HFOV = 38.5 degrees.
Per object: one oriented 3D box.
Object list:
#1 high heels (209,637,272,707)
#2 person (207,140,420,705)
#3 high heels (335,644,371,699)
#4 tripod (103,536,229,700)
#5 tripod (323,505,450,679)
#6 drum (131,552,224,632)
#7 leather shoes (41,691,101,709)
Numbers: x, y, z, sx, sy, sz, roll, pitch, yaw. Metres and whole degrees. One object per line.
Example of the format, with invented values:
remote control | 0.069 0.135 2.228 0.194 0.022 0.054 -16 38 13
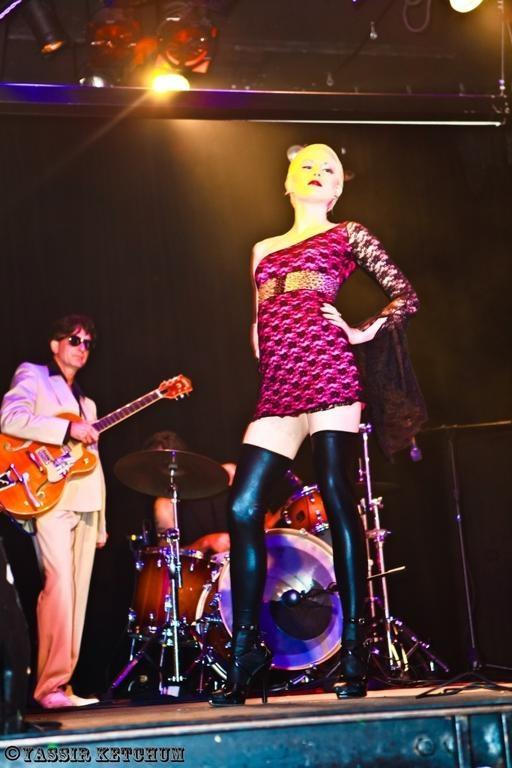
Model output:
high heels | -0.039 0.757 1.969 0.168 0.184 0.079 0 -14 -9
person | 0.191 0.151 2.211 0.665 1.451 0.250 -2 -14 -1
high heels | 0.254 0.771 1.967 0.088 0.124 0.162 -4 -14 5
tripod | -0.361 1.200 3.758 0.829 0.827 0.739 1 -34 1
tripod | 0.694 1.126 3.838 0.862 0.820 0.894 -2 -27 5
drum | -0.375 1.034 3.743 0.431 0.358 0.399 7 -27 3
leather shoes | -0.769 1.293 2.992 0.161 0.035 0.109 5 -13 -6
